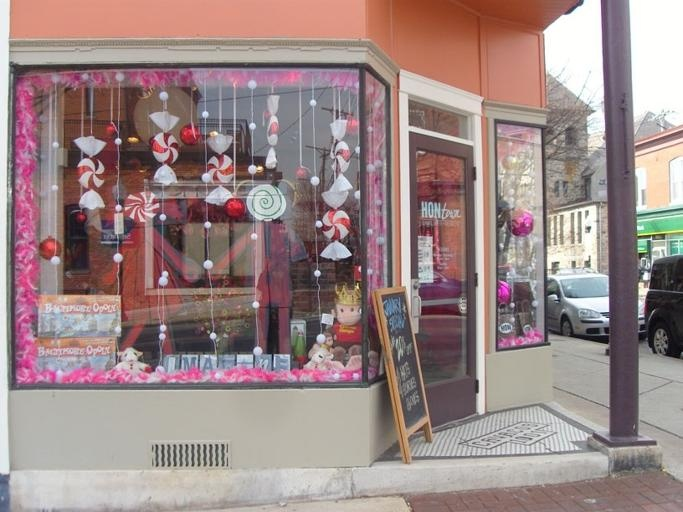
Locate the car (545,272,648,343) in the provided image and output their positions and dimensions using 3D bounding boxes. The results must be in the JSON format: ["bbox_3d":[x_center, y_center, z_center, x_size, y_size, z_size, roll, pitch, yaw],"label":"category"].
[{"bbox_3d":[4.738,0.895,18.388,1.501,1.317,2.817,0,-6,-7],"label":"car"}]

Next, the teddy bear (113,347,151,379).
[{"bbox_3d":[-2.139,1.095,9.869,0.387,0.451,0.211,1,-11,-14],"label":"teddy bear"}]
